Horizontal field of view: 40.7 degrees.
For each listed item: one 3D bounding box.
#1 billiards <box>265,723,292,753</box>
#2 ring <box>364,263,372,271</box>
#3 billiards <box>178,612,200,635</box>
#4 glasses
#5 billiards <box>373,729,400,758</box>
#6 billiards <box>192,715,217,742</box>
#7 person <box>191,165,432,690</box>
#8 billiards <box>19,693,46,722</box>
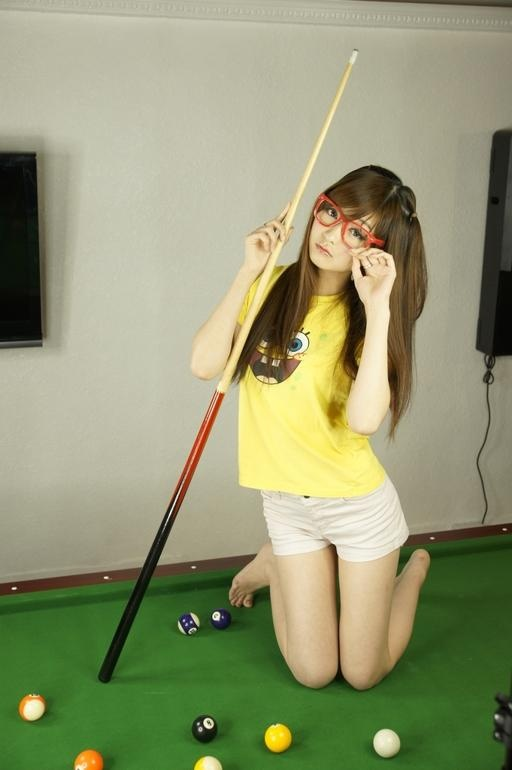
[{"bbox_3d":[0.044,0.729,1.415,0.051,0.058,0.051,-1,-1,-2],"label":"billiards"},{"bbox_3d":[0.247,-0.264,1.551,0.020,0.019,0.013,14,17,41],"label":"ring"},{"bbox_3d":[-0.182,0.645,1.855,0.053,0.062,0.056,4,0,-3],"label":"billiards"},{"bbox_3d":[0.191,-0.344,1.542,0.133,0.041,0.138,35,3,11],"label":"glasses"},{"bbox_3d":[0.267,0.740,1.419,0.048,0.048,0.027,-36,-14,3],"label":"billiards"},{"bbox_3d":[-0.109,0.727,1.450,0.056,0.047,0.052,1,13,-4],"label":"billiards"},{"bbox_3d":[0.145,0.126,1.779,0.638,1.233,0.651,12,29,1],"label":"person"},{"bbox_3d":[-0.478,0.697,1.500,0.052,0.052,0.048,9,-4,-9],"label":"billiards"}]
